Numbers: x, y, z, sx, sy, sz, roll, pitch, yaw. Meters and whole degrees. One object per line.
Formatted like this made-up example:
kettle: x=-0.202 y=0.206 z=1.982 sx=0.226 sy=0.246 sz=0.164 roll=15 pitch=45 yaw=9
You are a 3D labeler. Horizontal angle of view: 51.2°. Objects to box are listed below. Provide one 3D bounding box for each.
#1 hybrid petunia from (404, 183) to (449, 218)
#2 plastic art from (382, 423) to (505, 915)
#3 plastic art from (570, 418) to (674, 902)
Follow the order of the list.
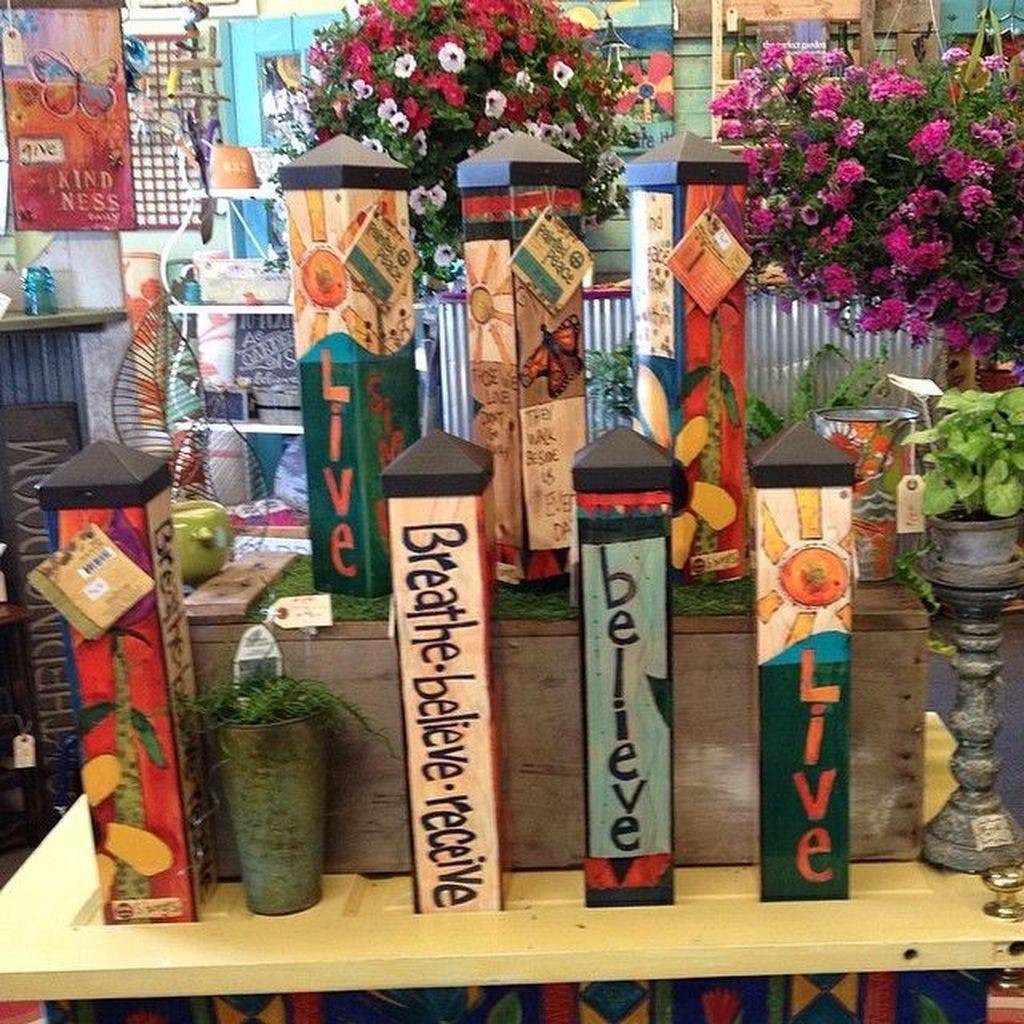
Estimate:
hybrid petunia: x=-0.157 y=-0.590 z=2.015 sx=0.073 sy=0.054 sz=0.033 roll=-5 pitch=2 yaw=22
plastic art: x=-0.071 y=0.206 z=1.313 sx=0.102 sy=0.607 sz=0.117 roll=3 pitch=16 yaw=27
plastic art: x=0.138 y=0.198 z=1.311 sx=0.133 sy=0.607 sz=0.077 roll=-4 pitch=15 yaw=4
